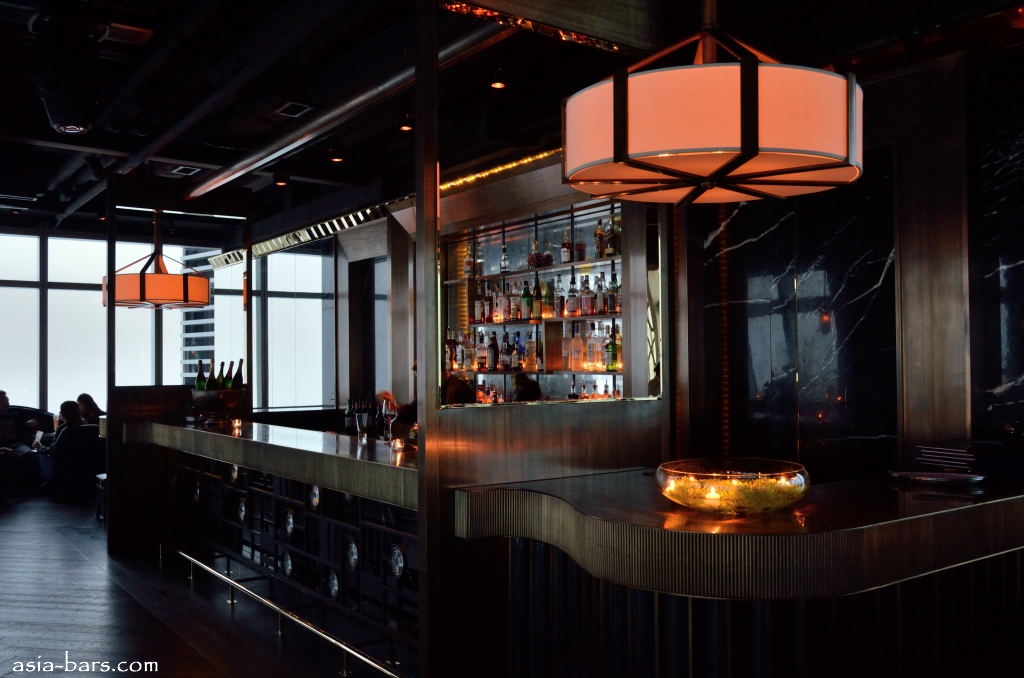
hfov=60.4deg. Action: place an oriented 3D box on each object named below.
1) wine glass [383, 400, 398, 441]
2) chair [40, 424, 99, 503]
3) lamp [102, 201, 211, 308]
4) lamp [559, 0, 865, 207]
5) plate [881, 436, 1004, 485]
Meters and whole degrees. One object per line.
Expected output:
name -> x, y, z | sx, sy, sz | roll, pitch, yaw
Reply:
wine glass -> -0.785, 0.510, 5.620 | 0.083, 0.261, 0.216 | -1, -4, -8
chair -> -5.331, 1.489, 10.721 | 0.536, 0.903, 1.002 | 1, -5, -43
lamp -> -3.485, -0.850, 8.640 | 0.981, 1.069, 0.990 | -1, -3, -11
lamp -> 0.784, -0.805, 3.963 | 0.923, 1.029, 0.937 | 2, -6, -7
plate -> 2.246, 0.640, 4.546 | 0.531, 0.214, 0.258 | -4, -4, 27
